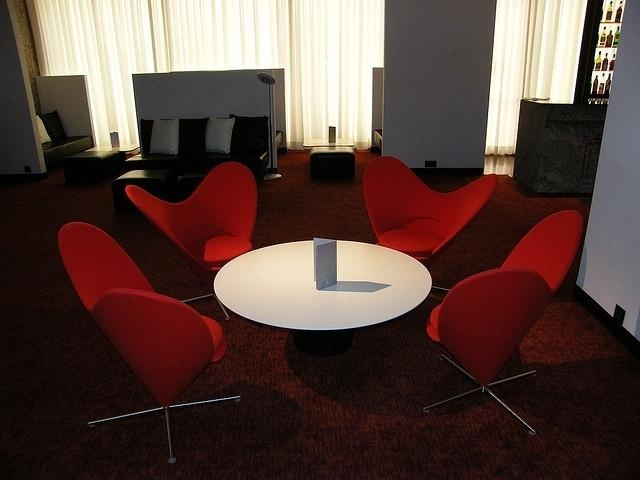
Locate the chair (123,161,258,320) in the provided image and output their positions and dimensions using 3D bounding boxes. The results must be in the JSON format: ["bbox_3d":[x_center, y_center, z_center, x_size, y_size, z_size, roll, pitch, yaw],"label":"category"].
[{"bbox_3d":[-1.106,0.014,3.823,0.805,1.169,1.093,26,40,35],"label":"chair"}]

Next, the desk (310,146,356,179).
[{"bbox_3d":[0.212,-1.299,7.720,0.740,0.442,0.370,-2,24,-4],"label":"desk"}]

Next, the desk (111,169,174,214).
[{"bbox_3d":[-2.504,-0.805,6.370,0.885,0.651,0.903,-1,16,-4],"label":"desk"}]

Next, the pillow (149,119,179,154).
[{"bbox_3d":[-2.640,-1.753,7.642,0.507,0.519,0.362,3,24,6],"label":"pillow"}]

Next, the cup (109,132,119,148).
[{"bbox_3d":[-3.884,-1.896,8.519,0.143,0.270,0.304,-12,27,-25],"label":"cup"}]

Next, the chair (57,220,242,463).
[{"bbox_3d":[-0.991,0.365,3.170,1.242,1.792,1.125,-12,29,-26],"label":"chair"}]

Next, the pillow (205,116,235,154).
[{"bbox_3d":[-1.733,-1.800,7.700,0.573,0.554,0.313,9,19,34],"label":"pillow"}]
